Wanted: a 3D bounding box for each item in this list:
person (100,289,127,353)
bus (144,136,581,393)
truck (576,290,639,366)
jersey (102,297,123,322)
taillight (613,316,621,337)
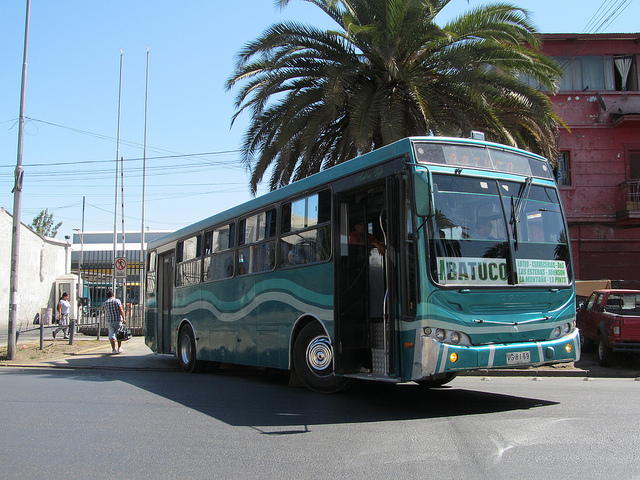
[{"bbox_3d":[-7.407,2.862,18.491,0.661,2.298,1.429,1,-9,-23],"label":"person"},{"bbox_3d":[-0.534,1.058,11.358,10.803,4.106,3.004,-12,-12,43],"label":"bus"},{"bbox_3d":[8.447,2.487,15.049,1.630,2.075,3.132,-7,-10,24],"label":"truck"},{"bbox_3d":[-7.273,2.417,18.135,0.631,0.876,0.522,0,-9,-18],"label":"jersey"},{"bbox_3d":[7.869,2.284,13.679,0.239,0.454,0.119,-2,-4,7],"label":"taillight"}]
